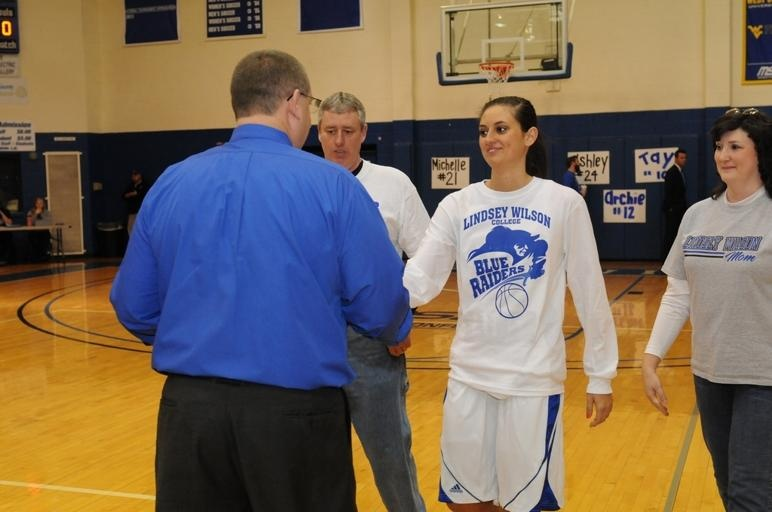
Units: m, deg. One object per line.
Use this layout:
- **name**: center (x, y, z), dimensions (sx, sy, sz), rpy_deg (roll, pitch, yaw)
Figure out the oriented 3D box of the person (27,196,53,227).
- **person**: center (-7.262, -0.940, 14.361), dimensions (0.447, 0.579, 1.169), rpy_deg (-3, 5, -28)
